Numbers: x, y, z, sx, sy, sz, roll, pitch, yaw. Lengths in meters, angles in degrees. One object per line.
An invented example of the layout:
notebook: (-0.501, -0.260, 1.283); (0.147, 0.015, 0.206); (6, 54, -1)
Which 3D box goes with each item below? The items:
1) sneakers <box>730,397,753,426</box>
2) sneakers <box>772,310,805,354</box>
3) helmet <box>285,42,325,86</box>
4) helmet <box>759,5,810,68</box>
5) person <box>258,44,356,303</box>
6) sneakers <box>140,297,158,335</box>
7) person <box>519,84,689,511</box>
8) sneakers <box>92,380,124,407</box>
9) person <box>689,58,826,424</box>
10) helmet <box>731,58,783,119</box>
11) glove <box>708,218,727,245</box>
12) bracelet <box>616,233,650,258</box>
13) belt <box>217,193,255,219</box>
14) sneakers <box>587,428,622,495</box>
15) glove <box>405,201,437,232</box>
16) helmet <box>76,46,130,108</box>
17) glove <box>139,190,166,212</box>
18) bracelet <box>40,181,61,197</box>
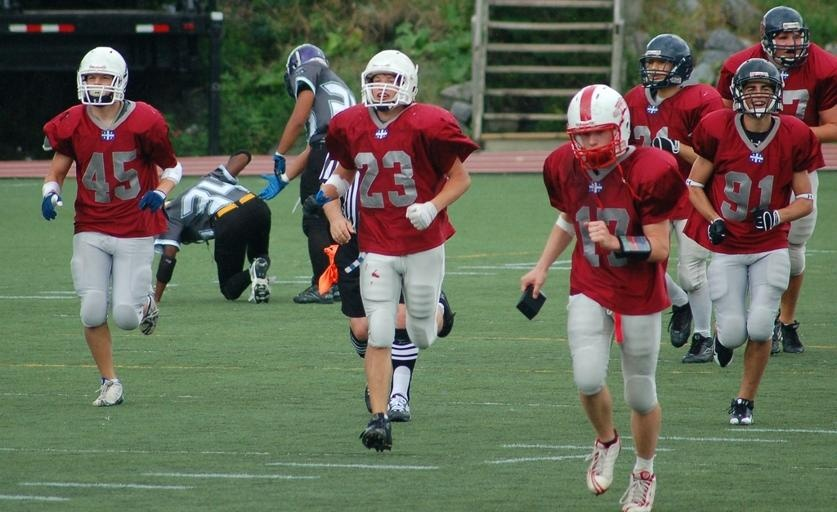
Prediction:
sneakers: (2.395, 1.145, 9.572); (0.173, 0.188, 0.192); (1, 7, 12)
sneakers: (3.166, 0.706, 10.947); (0.202, 0.209, 0.544); (2, 2, -5)
helmet: (-1.073, -1.962, 12.869); (0.437, 0.445, 0.473); (2, 3, -18)
helmet: (3.167, -1.914, 11.049); (0.427, 0.446, 0.530); (-6, 19, -10)
person: (-1.050, -0.858, 12.833); (1.123, 2.628, 1.060); (0, -6, -2)
sneakers: (-2.211, 0.481, 10.485); (0.144, 0.376, 0.185); (5, 26, 1)
person: (1.253, 0.251, 8.674); (0.904, 2.810, 0.601); (5, 9, 36)
sneakers: (-2.396, 1.043, 9.866); (0.220, 0.197, 0.108); (-2, 7, -10)
person: (2.498, -0.143, 9.701); (0.970, 2.670, 0.648); (1, 7, 15)
helmet: (2.499, -1.253, 9.503); (0.389, 0.362, 0.457); (1, 1, 3)
glove: (2.253, -0.180, 9.657); (0.146, 0.177, 0.157); (-3, -36, 18)
bracelet: (1.411, -0.070, 8.409); (0.170, 0.165, 0.064); (2, -39, 1)
belt: (-1.829, -0.513, 12.774); (0.296, 0.069, 0.223); (-25, 1, 21)
sneakers: (1.256, 1.400, 8.651); (0.172, 0.464, 0.215); (8, -12, 32)
glove: (0.019, -0.294, 9.289); (0.240, 0.202, 0.191); (-2, 7, -15)
helmet: (-2.515, -1.393, 10.074); (0.382, 0.379, 0.490); (0, 4, 2)
glove: (-2.063, -0.429, 9.949); (0.187, 0.174, 0.168); (-2, 7, -10)
bracelet: (-2.892, -0.537, 10.092); (0.123, 0.101, 0.125); (1, 2, -22)
